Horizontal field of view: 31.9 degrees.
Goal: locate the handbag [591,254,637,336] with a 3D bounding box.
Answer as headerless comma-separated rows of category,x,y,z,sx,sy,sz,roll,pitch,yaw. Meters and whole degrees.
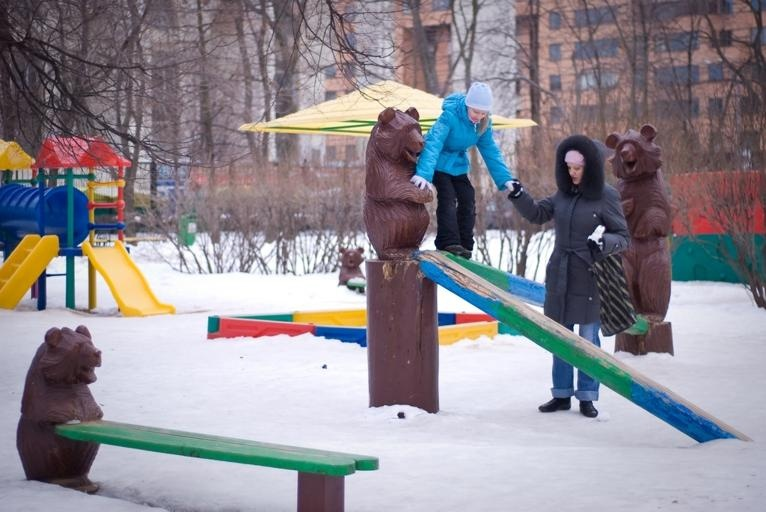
handbag,3.628,0.605,21.016,0.649,1.281,0.283,-1,5,10

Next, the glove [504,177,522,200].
glove,2.134,-1.098,21.356,0.228,0.307,0.292,7,26,-19

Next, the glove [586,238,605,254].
glove,3.307,-0.156,20.770,0.201,0.209,0.232,5,-7,-39

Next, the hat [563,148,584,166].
hat,3.042,-1.576,21.103,0.209,0.226,0.271,3,18,17

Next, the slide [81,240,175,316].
slide,-5.200,0.574,26.463,2.399,0.907,0.964,41,32,29

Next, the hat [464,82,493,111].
hat,1.530,-2.591,21.316,0.434,0.430,0.406,24,21,20

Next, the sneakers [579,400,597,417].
sneakers,3.235,2.390,20.980,0.289,0.245,0.254,-2,5,0
